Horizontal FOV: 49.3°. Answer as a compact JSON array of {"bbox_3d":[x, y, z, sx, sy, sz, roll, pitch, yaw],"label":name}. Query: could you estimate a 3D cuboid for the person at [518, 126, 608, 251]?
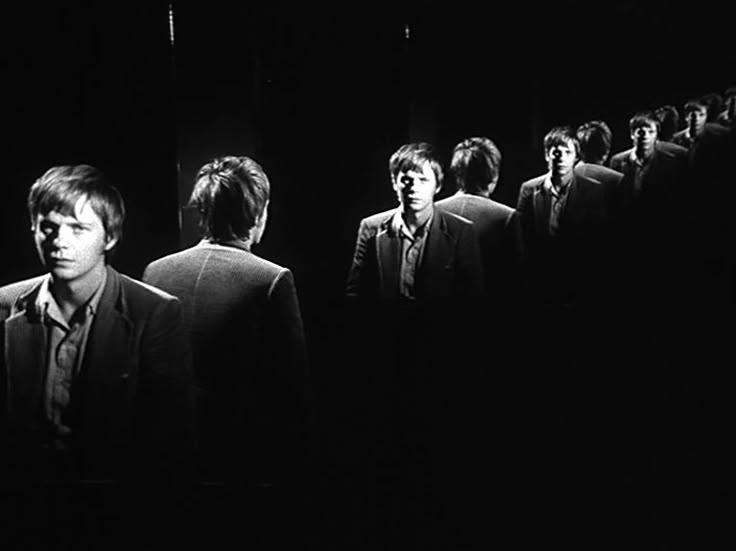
[{"bbox_3d":[1.129,-0.507,4.687,0.653,0.895,0.428,0,-6,7],"label":"person"}]
